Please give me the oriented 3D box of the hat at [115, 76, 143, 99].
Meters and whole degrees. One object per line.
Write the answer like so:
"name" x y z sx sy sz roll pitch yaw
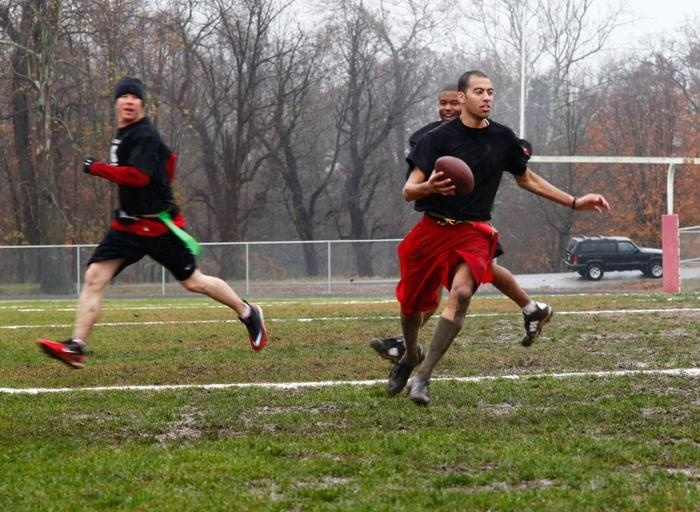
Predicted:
"hat" -3.153 -2.393 14.997 0.346 0.307 0.349 7 -4 -8

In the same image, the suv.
"suv" 9.778 0.125 39.047 3.230 1.267 1.548 -2 5 -3

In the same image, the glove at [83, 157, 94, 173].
"glove" -3.736 -1.266 14.872 0.150 0.203 0.537 -1 2 -23
